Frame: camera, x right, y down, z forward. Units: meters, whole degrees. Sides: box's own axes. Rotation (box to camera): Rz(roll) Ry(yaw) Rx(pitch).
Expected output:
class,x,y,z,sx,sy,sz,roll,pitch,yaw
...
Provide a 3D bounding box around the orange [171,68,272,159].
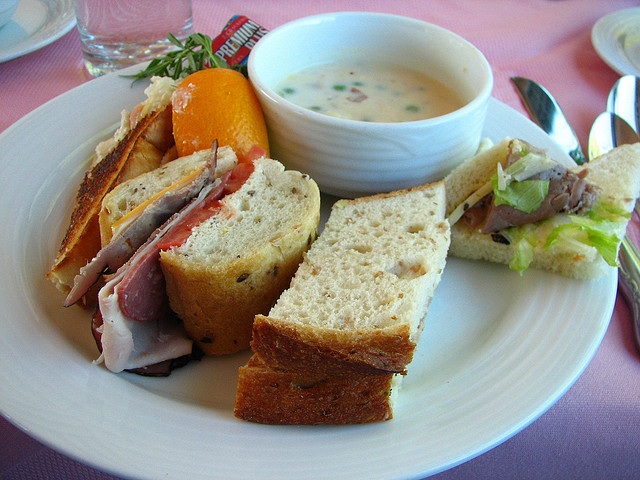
class,x,y,z,sx,sy,sz,roll,pitch,yaw
orange,-0.394,-0.478,2.191,0.307,0.199,0.385,-8,80,-46
